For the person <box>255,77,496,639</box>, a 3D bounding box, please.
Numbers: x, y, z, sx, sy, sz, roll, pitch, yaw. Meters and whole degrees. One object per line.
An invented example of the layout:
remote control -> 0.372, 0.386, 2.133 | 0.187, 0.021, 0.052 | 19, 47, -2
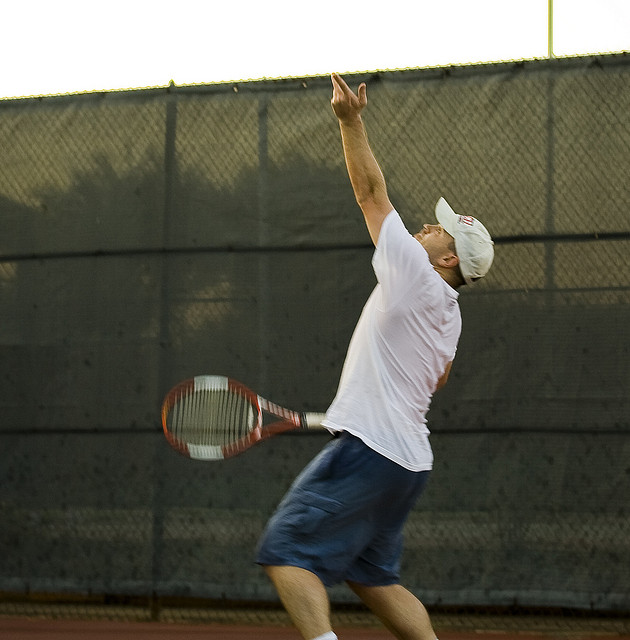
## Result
person -> 0.187, 0.154, 3.832 | 0.705, 1.971, 0.313 | 1, 2, -33

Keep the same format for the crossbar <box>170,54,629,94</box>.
crossbar -> 0.379, -1.107, 4.930 | 2.010, 0.211, 0.028 | 2, 2, 4

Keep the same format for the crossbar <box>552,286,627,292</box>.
crossbar -> 1.218, -0.139, 4.771 | 0.190, 0.028, 0.013 | -1, -6, 5
